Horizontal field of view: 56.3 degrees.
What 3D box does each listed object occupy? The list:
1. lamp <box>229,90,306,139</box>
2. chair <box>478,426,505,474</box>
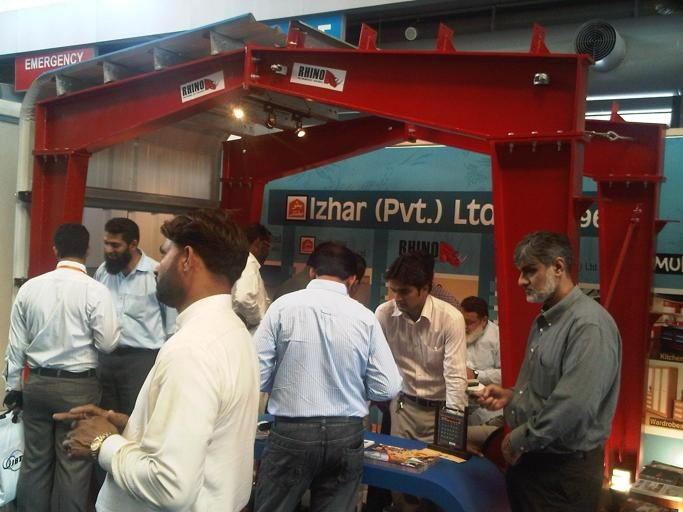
[{"bbox_3d":[-0.771,-1.501,6.681,0.496,0.145,0.494,4,-4,-40],"label":"lamp"},{"bbox_3d":[1.145,1.422,4.727,0.222,0.293,0.226,2,-3,28],"label":"chair"}]
